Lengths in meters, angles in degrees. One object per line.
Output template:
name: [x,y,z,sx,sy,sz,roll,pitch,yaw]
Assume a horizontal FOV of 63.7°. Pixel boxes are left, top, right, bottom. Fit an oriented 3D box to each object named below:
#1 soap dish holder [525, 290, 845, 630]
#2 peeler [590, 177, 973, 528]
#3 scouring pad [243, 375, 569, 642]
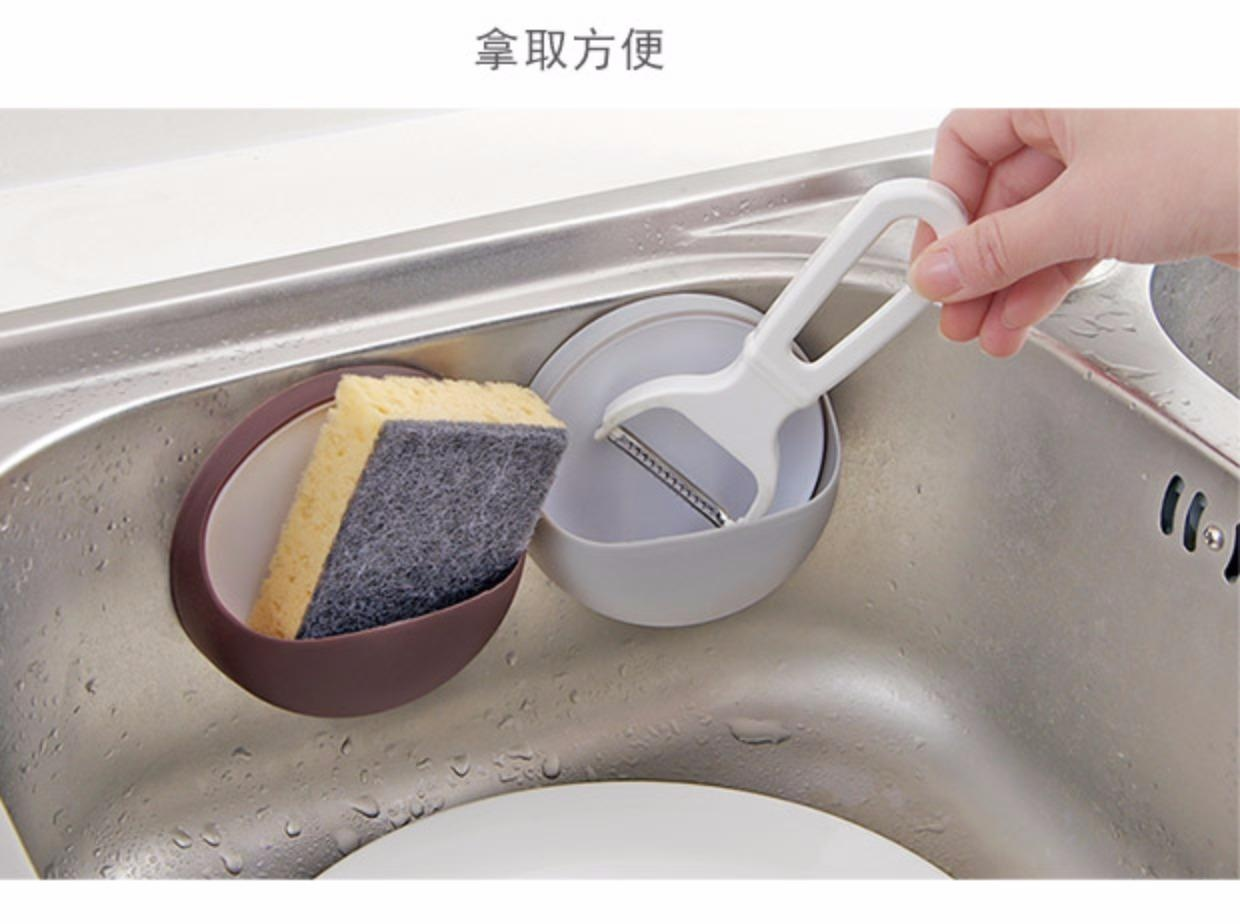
soap dish holder: [0.048,-0.032,0.788,0.255,0.238,0.101,-43,24,-1]
peeler: [0.117,-0.074,0.678,0.138,0.262,0.038,43,23,-3]
scouring pad: [-0.146,0.022,0.674,0.222,0.162,0.088,-13,36,-24]
